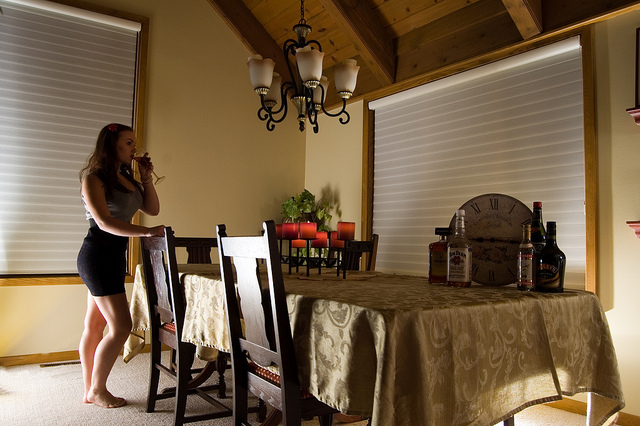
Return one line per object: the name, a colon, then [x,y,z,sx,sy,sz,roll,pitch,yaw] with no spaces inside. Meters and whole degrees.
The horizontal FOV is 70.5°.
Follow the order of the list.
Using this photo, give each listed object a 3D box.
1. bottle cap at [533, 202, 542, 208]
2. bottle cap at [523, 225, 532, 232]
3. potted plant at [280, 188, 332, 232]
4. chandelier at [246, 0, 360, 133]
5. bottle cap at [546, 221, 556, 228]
bottle cap: [1.139,-0.041,2.373,0.045,0.030,0.045,2,-2,-33]
bottle cap: [1.060,0.079,2.308,0.030,0.032,0.032,-2,-4,29]
potted plant: [-0.190,-0.021,5.336,0.294,0.373,0.366,-6,-11,-32]
chandelier: [-0.219,-1.381,3.892,0.805,1.476,1.436,0,2,-11]
bottle cap: [1.191,0.064,2.321,0.034,0.028,0.034,2,-1,-43]
